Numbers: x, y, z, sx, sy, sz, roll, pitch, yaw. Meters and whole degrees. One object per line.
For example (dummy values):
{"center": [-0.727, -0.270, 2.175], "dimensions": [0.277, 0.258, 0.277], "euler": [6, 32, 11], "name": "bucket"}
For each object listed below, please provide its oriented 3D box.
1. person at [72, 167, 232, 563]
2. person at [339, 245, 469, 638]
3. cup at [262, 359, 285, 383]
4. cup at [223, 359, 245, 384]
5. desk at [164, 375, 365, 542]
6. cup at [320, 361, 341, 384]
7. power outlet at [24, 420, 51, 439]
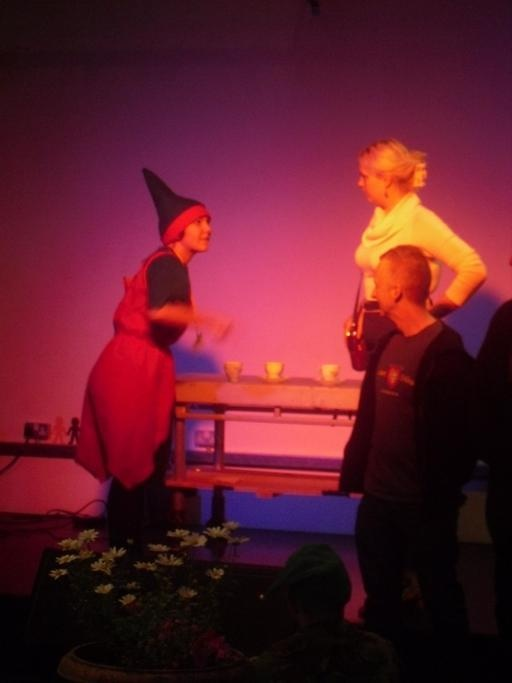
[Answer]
{"center": [-0.414, 0.032, 2.509], "dimensions": [0.388, 1.483, 0.480], "euler": [4, 2, 19], "name": "person"}
{"center": [0.464, 0.278, 1.913], "dimensions": [0.406, 1.128, 0.239], "euler": [3, 2, 7], "name": "person"}
{"center": [0.070, 0.122, 2.544], "dimensions": [0.071, 0.077, 0.071], "euler": [1, -2, 0], "name": "cup"}
{"center": [-0.087, 0.117, 2.481], "dimensions": [0.075, 0.082, 0.075], "euler": [0, -3, 0], "name": "cup"}
{"center": [0.081, 0.461, 2.675], "dimensions": [0.774, 0.528, 0.524], "euler": [2, -5, 2], "name": "desk"}
{"center": [0.289, 0.132, 2.498], "dimensions": [0.071, 0.079, 0.072], "euler": [0, -1, 0], "name": "cup"}
{"center": [-1.039, 0.435, 3.018], "dimensions": [0.116, 0.086, 0.022], "euler": [2, 2, -12], "name": "power outlet"}
